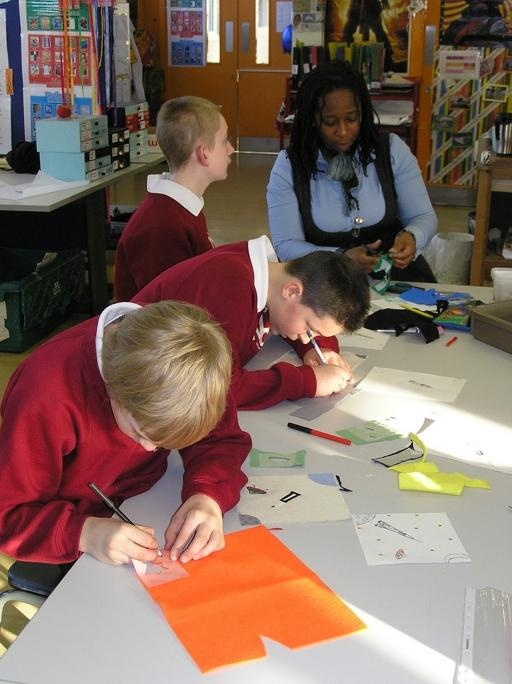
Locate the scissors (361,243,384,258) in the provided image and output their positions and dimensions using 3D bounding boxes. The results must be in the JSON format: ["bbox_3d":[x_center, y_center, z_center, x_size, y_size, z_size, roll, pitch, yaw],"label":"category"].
[{"bbox_3d":[0.456,-0.362,2.193,0.083,0.045,0.042,13,-27,-36],"label":"scissors"}]

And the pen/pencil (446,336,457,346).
[{"bbox_3d":[0.614,-0.004,1.744,0.018,0.008,0.074,34,36,17],"label":"pen/pencil"}]

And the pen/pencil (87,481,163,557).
[{"bbox_3d":[-0.212,0.287,0.896,0.017,0.117,0.028,-48,16,-18],"label":"pen/pencil"}]

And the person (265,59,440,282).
[{"bbox_3d":[0.401,-0.719,2.230,0.709,0.781,0.366,0,19,3],"label":"person"}]

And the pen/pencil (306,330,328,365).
[{"bbox_3d":[0.168,0.017,1.541,0.017,0.097,0.012,-22,-14,-3],"label":"pen/pencil"}]
